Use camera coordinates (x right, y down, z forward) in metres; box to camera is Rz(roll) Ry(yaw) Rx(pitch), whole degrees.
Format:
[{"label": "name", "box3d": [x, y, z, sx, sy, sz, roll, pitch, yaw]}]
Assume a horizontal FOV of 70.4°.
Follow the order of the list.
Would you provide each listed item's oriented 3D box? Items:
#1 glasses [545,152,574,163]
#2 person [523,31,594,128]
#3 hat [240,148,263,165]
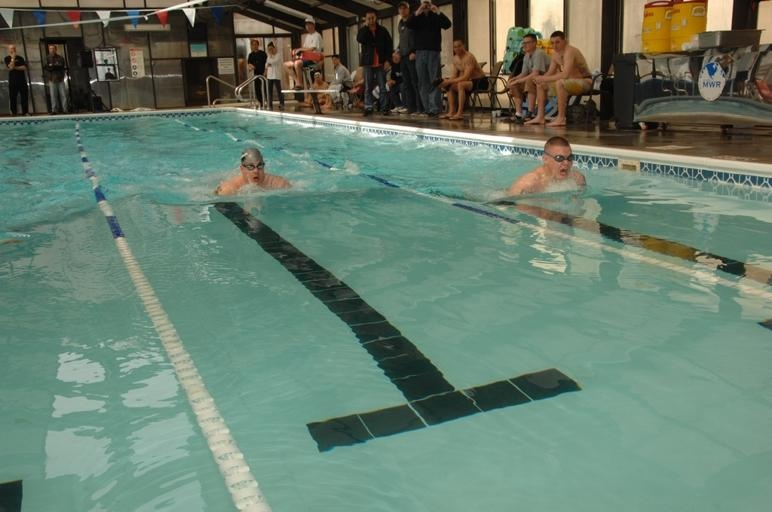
[{"label": "glasses", "box3d": [1.551, -0.894, 4.946, 0.163, 0.033, 0.132, -4, 21, -10]}, {"label": "person", "box3d": [2.716, -2.715, 8.414, 0.853, 1.422, 0.881, -6, 20, -10]}, {"label": "hat", "box3d": [-1.309, -0.995, 5.466, 0.251, 0.209, 0.266, -4, 8, -16]}]
